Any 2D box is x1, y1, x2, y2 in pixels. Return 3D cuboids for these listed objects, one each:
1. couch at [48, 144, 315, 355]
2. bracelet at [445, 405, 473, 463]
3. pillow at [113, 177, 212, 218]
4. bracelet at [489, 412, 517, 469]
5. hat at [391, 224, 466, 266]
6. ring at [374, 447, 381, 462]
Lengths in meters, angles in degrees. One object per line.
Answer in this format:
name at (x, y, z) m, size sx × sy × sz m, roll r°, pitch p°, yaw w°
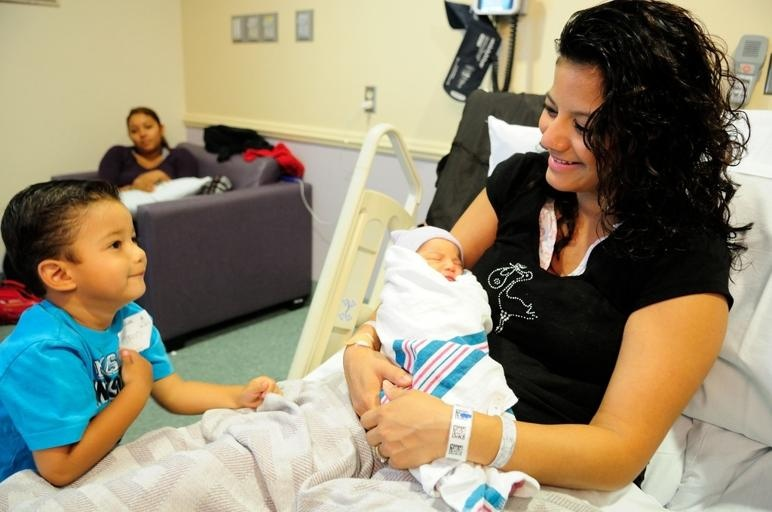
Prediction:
couch at (-1.158, -0.045, 3.665) m, size 1.313 × 0.970 × 0.932 m, roll 9°, pitch 15°, yaw 41°
bracelet at (0.193, 0.465, 1.547) m, size 0.037 × 0.116 × 0.086 m, roll 10°, pitch -11°, yaw 5°
pillow at (-1.147, -0.302, 3.137) m, size 0.326 × 0.101 × 0.290 m, roll -20°, pitch 25°, yaw -20°
bracelet at (0.318, 0.483, 1.561) m, size 0.026 × 0.112 × 0.105 m, roll 9°, pitch -18°, yaw -13°
hat at (0.112, -0.056, 1.975) m, size 0.170 × 0.062 × 0.128 m, roll 22°, pitch 14°, yaw 39°
ring at (-0.025, 0.539, 1.644) m, size 0.010 × 0.041 × 0.038 m, roll -14°, pitch 46°, yaw -5°
